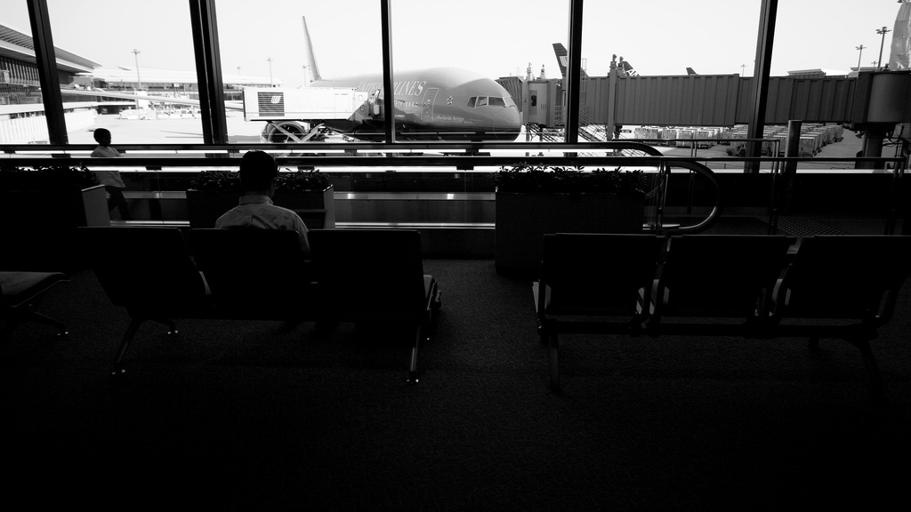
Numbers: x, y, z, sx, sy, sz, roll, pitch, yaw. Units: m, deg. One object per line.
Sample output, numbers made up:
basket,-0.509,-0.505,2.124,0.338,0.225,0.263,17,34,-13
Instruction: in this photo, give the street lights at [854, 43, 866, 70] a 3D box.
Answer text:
street lights,6.112,-3.035,9.904,0.115,0.334,0.141,-7,22,-15

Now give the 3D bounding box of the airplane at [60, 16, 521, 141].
airplane,-1.925,-3.401,13.249,6.478,2.676,7.100,1,20,6

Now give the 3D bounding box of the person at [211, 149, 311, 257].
person,-1.915,-0.499,6.486,1.345,1.049,0.596,-1,19,-6
